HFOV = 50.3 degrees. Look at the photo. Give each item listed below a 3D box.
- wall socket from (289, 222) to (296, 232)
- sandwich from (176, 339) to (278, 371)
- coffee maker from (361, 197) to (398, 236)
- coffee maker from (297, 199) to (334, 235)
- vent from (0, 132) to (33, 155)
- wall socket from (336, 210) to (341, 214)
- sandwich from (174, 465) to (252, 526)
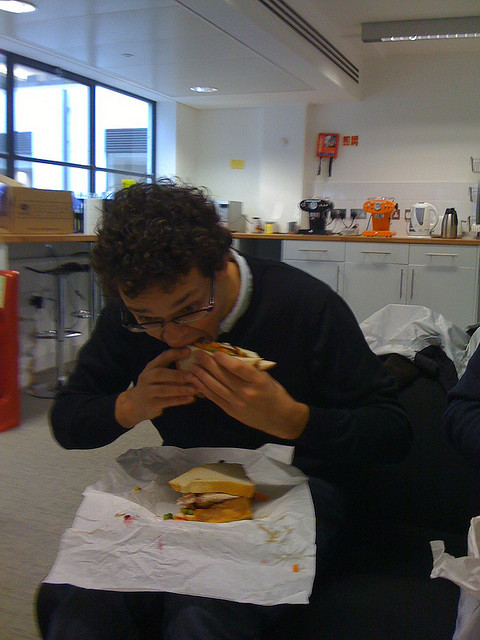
[{"bbox_3d":[0.530,-0.956,5.207,0.086,0.081,0.069,4,3,11],"label":"wall socket"},{"bbox_3d":[-0.017,0.061,0.853,0.107,0.036,0.075,15,9,6],"label":"sandwich"},{"bbox_3d":[1.311,-0.953,4.728,0.379,0.359,0.330,-6,10,-44],"label":"coffee maker"},{"bbox_3d":[0.736,-0.961,4.845,0.318,0.362,0.368,1,0,21],"label":"coffee maker"},{"bbox_3d":[-1.761,-1.389,3.998,0.115,0.142,0.216,21,31,23],"label":"vent"},{"bbox_3d":[1.030,-1.134,5.357,0.038,0.018,0.052,-1,35,10],"label":"wall socket"},{"bbox_3d":[-0.042,0.265,0.799,0.118,0.046,0.144,-4,9,-10],"label":"sandwich"}]
